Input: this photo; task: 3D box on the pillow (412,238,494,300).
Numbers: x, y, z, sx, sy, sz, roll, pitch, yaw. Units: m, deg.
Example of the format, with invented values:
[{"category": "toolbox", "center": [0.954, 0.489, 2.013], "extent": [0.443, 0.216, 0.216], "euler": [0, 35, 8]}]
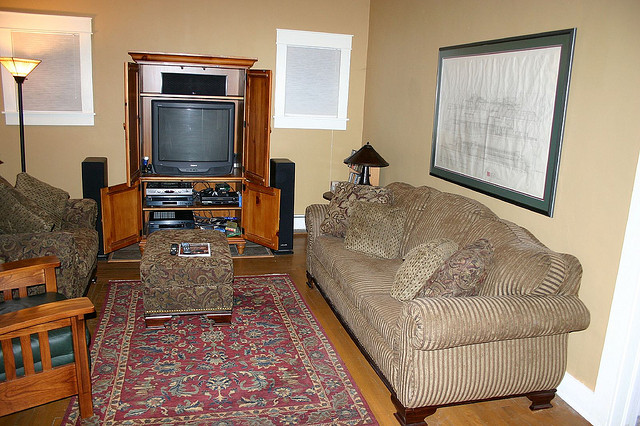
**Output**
[{"category": "pillow", "center": [1.049, 0.441, 3.441], "extent": [0.457, 0.448, 0.697], "euler": [8, 12, 25]}]

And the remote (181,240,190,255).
[{"category": "remote", "center": [-1.280, 0.335, 4.354], "extent": [0.087, 0.033, 0.145], "euler": [0, 25, -13]}]

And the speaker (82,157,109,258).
[{"category": "speaker", "center": [-2.511, -0.091, 5.392], "extent": [0.241, 1.038, 0.406], "euler": [-2, 18, -14]}]

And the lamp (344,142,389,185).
[{"category": "lamp", "center": [0.552, -0.565, 5.507], "extent": [0.551, 0.485, 0.545], "euler": [9, 14, 21]}]

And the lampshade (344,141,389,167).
[{"category": "lampshade", "center": [0.562, -0.718, 5.469], "extent": [0.539, 0.239, 0.534], "euler": [-7, 20, -39]}]

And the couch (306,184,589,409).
[{"category": "couch", "center": [1.044, 0.690, 3.572], "extent": [0.794, 0.760, 1.684], "euler": [1, 15, -14]}]

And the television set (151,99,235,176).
[{"category": "television set", "center": [-1.625, -0.931, 5.776], "extent": [1.303, 0.914, 0.481], "euler": [3, 16, -8]}]

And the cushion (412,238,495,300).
[{"category": "cushion", "center": [1.049, 0.413, 3.476], "extent": [0.475, 0.443, 0.675], "euler": [8, 11, 28]}]

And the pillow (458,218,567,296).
[{"category": "pillow", "center": [1.446, 0.392, 3.409], "extent": [0.641, 0.209, 0.499], "euler": [-31, 43, 15]}]

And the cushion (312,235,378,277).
[{"category": "cushion", "center": [0.171, 0.363, 4.669], "extent": [0.346, 0.148, 0.611], "euler": [-5, 20, -21]}]

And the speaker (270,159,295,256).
[{"category": "speaker", "center": [-0.466, -0.041, 5.771], "extent": [0.239, 1.178, 0.181], "euler": [0, 15, -11]}]

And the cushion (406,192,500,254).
[{"category": "cushion", "center": [1.174, 0.049, 4.107], "extent": [0.166, 0.595, 0.613], "euler": [18, 7, -37]}]

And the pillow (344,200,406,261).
[{"category": "pillow", "center": [0.566, 0.189, 4.662], "extent": [0.632, 0.521, 0.371], "euler": [13, 14, 8]}]

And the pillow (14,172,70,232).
[{"category": "pillow", "center": [-2.715, -0.153, 4.650], "extent": [0.553, 0.644, 0.580], "euler": [-1, 16, -15]}]

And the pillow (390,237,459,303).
[{"category": "pillow", "center": [0.768, 0.427, 3.680], "extent": [0.260, 0.703, 0.451], "euler": [40, -1, -14]}]

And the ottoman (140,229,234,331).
[{"category": "ottoman", "center": [-1.198, 0.571, 4.598], "extent": [1.053, 0.765, 1.331], "euler": [0, 11, -15]}]

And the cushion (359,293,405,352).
[{"category": "cushion", "center": [0.403, 0.880, 3.596], "extent": [0.305, 0.296, 0.433], "euler": [1, 14, -2]}]

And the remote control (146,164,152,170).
[{"category": "remote control", "center": [-2.225, -0.603, 5.974], "extent": [0.069, 0.020, 0.049], "euler": [-31, 52, -30]}]
